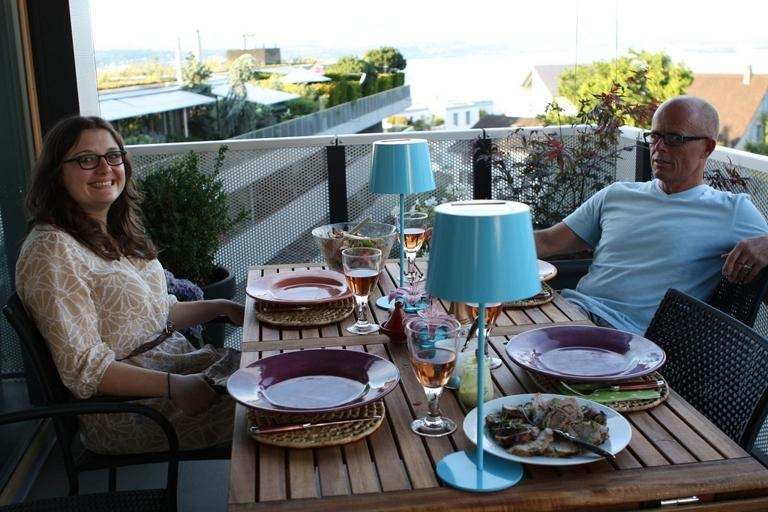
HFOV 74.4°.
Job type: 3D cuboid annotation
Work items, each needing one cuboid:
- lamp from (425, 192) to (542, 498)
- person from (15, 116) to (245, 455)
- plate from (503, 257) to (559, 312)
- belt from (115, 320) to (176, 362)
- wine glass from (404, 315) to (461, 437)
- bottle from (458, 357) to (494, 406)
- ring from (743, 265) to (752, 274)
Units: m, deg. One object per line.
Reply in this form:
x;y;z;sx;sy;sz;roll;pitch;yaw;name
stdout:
0.214;0.181;1.138;0.238;0.592;0.357;-1;23;5;lamp
-0.890;0.091;2.068;1.110;1.169;0.938;3;8;-5;person
0.644;0.129;2.132;0.269;0.067;0.245;-4;16;0;plate
-0.974;0.308;2.022;0.208;0.061;0.256;5;13;0;belt
0.122;0.305;1.262;0.150;0.241;0.138;0;-6;-7;wine glass
0.243;0.351;1.414;0.123;0.123;0.114;0;9;8;bottle
1.421;0.048;1.996;0.030;0.026;0.007;-12;-19;-11;ring
